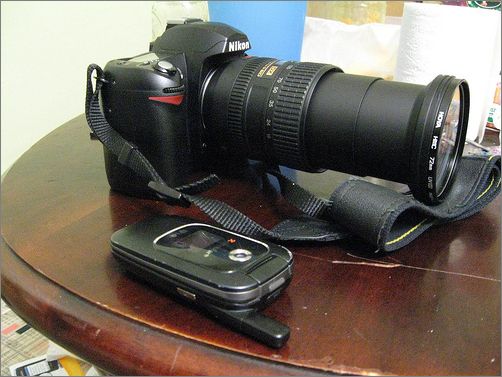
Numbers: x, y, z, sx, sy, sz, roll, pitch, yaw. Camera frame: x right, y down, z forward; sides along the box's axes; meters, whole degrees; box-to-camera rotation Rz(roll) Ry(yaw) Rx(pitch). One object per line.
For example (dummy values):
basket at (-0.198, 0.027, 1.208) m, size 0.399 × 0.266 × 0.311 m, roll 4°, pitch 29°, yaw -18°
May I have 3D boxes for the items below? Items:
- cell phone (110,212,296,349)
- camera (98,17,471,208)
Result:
cell phone at (-0.054, 0.084, 0.449) m, size 0.194 × 0.046 × 0.091 m, roll 18°, pitch 33°, yaw 28°
camera at (0.025, -0.078, 0.604) m, size 0.444 × 0.187 × 0.271 m, roll 16°, pitch 36°, yaw 24°
